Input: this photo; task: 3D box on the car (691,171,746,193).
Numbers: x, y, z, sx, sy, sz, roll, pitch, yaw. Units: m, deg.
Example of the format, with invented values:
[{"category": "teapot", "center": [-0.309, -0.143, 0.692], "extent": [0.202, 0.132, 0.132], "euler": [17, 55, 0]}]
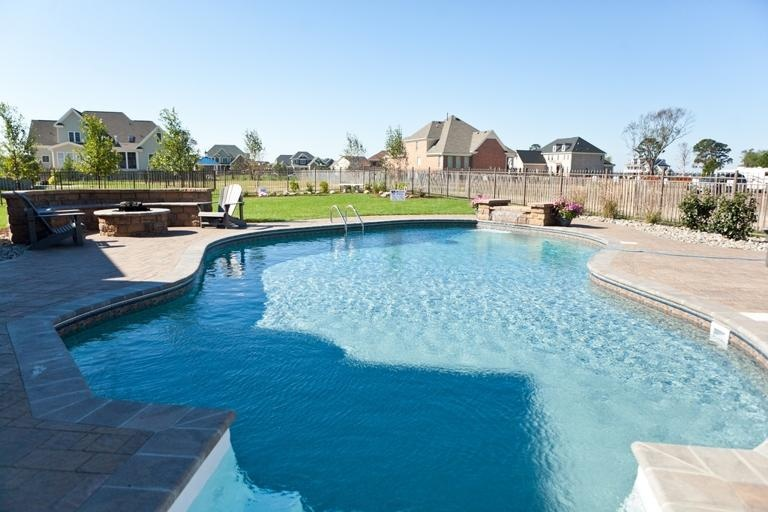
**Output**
[{"category": "car", "center": [11.285, -2.463, 15.571], "extent": [1.247, 0.689, 1.733], "euler": [-11, 18, -40]}]

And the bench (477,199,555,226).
[{"category": "bench", "center": [5.297, -1.802, 18.630], "extent": [1.137, 0.919, 3.409], "euler": [-9, 17, -36]}]

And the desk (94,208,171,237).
[{"category": "desk", "center": [-7.634, -1.019, 13.992], "extent": [1.829, 0.773, 0.952], "euler": [-8, 17, -33]}]

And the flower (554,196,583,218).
[{"category": "flower", "center": [7.027, -1.873, 17.608], "extent": [0.990, 0.610, 0.881], "euler": [2, 6, 13]}]

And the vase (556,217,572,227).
[{"category": "vase", "center": [6.847, -1.323, 17.441], "extent": [0.428, 0.270, 0.406], "euler": [-1, 10, 1]}]
